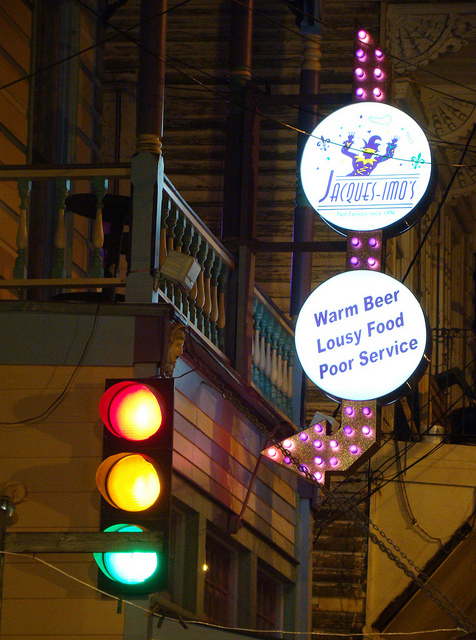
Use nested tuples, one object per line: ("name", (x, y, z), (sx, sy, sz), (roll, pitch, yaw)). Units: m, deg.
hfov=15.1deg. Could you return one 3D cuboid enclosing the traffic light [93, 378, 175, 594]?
("traffic light", (-0.672, 1.102, 11.725), (0.476, 0.452, 1.582), (0, -75, -5))
